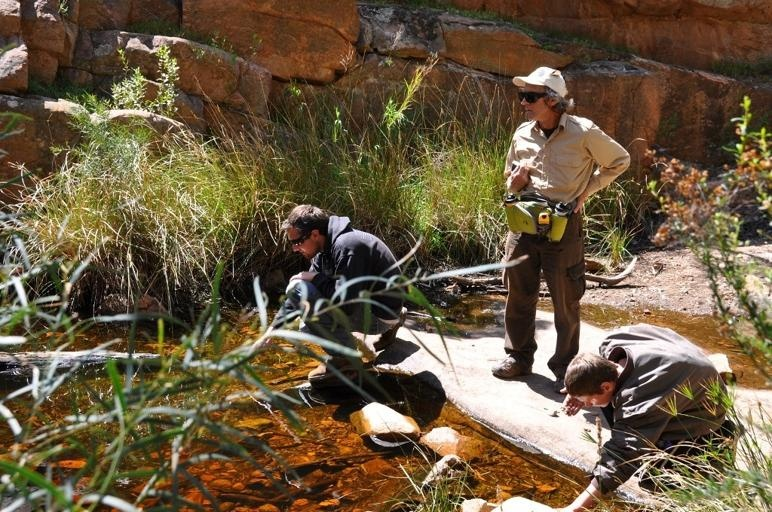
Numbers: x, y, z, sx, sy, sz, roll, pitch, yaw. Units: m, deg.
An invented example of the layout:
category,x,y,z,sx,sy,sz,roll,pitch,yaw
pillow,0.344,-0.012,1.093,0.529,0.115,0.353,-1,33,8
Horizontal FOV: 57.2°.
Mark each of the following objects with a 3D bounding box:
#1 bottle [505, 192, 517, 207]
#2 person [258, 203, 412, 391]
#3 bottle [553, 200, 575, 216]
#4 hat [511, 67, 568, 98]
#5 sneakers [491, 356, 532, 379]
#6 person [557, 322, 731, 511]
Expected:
category,x,y,z,sx,sy,sz,roll,pitch,yaw
bottle,1.008,-0.459,5.716,0.119,0.113,0.096,12,13,26
person,-0.365,0.300,6.080,1.099,1.447,0.881,-6,3,-27
bottle,1.415,-0.377,5.582,0.232,0.109,0.082,-3,15,-40
hat,1.269,-1.396,5.634,0.324,0.215,0.188,5,12,-8
sneakers,1.048,0.926,5.912,0.310,0.153,0.162,3,0,-19
person,1.652,1.058,4.575,1.015,1.093,0.726,7,12,7
